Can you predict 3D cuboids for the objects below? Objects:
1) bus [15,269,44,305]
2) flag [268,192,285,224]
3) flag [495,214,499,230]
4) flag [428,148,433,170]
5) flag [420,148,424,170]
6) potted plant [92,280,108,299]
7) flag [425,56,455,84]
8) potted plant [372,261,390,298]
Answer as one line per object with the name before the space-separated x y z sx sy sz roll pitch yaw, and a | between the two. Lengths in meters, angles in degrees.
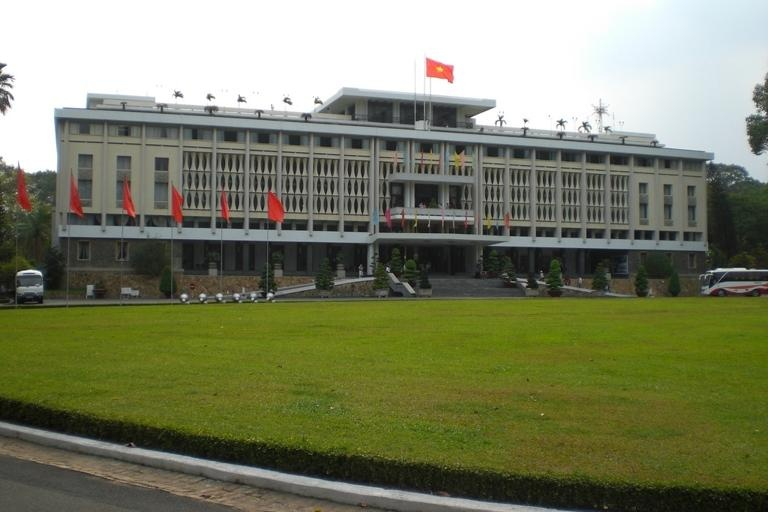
bus | -23.383 2.116 57.434 1.471 1.688 2.846 1 -8 -28
flag | -8.082 -3.460 65.042 0.989 2.270 2.622 -3 14 -4
flag | 10.547 -3.000 82.314 0.473 1.126 0.626 3 15 19
flag | 4.265 -8.855 80.740 0.516 1.951 0.644 -2 14 0
flag | 3.497 -8.693 80.207 0.419 1.952 0.995 -1 14 2
potted plant | -21.750 2.622 66.932 1.030 0.963 1.525 2 -4 -35
flag | 4.426 -14.729 69.823 2.052 1.656 2.469 -2 14 -2
potted plant | -0.246 1.988 64.702 1.087 2.484 1.891 -2 14 -2
